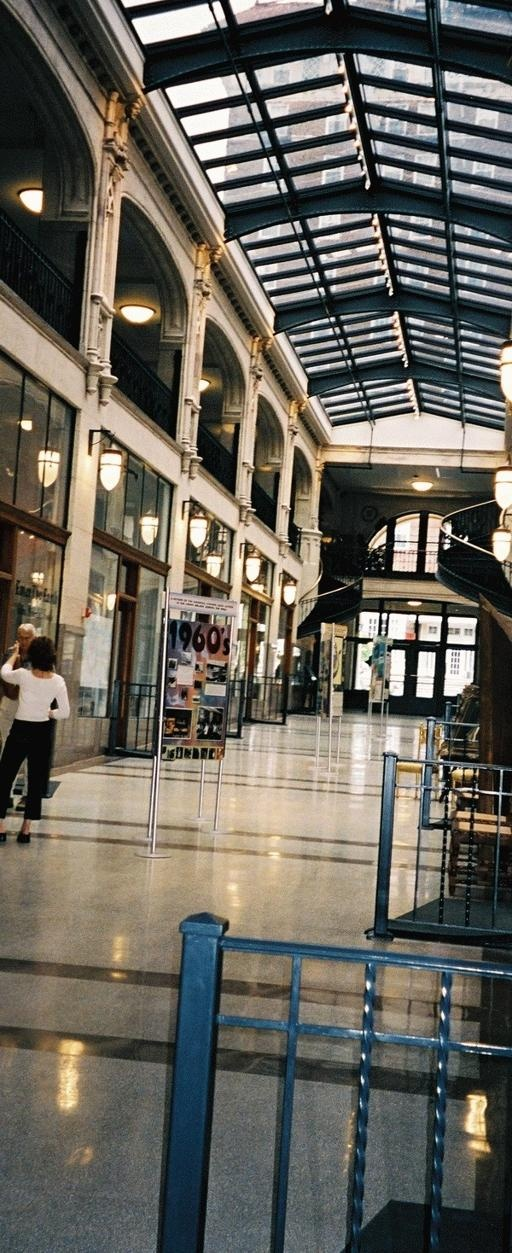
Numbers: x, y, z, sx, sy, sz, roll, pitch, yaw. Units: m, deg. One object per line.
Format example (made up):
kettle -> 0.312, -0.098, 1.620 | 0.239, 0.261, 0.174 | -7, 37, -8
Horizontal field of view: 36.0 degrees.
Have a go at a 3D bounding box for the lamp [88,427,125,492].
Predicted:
lamp -> -2.332, -2.601, 12.481 | 0.503, 0.807, 1.335 | 9, -5, -4

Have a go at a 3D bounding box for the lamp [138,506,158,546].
lamp -> -2.037, -1.898, 15.117 | 0.368, 0.824, 0.454 | 0, 2, 31

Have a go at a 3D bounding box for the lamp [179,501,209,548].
lamp -> -1.349, -2.297, 17.710 | 0.534, 0.828, 2.128 | 9, -5, -2
